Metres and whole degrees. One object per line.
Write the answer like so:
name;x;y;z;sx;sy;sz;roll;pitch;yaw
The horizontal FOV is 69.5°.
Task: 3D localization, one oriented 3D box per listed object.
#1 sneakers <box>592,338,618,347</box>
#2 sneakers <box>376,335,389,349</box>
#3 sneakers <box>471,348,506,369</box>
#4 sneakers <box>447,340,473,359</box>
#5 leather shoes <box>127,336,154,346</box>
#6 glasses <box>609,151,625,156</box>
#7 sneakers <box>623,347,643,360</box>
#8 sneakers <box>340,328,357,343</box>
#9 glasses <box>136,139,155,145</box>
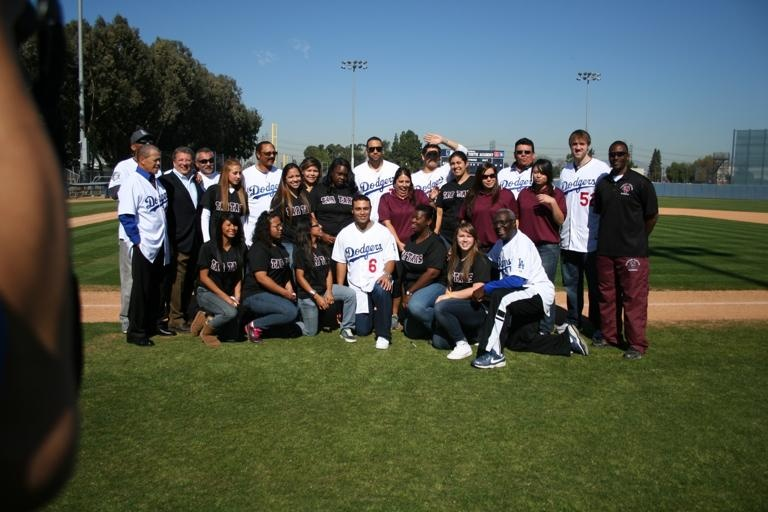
sneakers;2.630;1.036;6.564;0.266;0.113;0.124;-2;7;6
sneakers;-0.009;1.005;6.394;0.100;0.098;0.235;-2;-11;10
sneakers;1.072;1.068;5.754;0.408;0.196;0.150;0;16;-3
sneakers;0.826;1.036;6.077;0.221;0.163;0.299;7;10;35
leather shoes;-2.749;0.973;6.260;0.260;0.109;0.123;11;-11;9
glasses;2.660;-1.159;6.325;0.102;0.061;0.198;-4;10;-34
sneakers;2.722;1.067;6.021;0.184;0.083;0.099;8;1;-25
sneakers;-0.426;0.981;6.754;0.098;0.107;0.240;1;-4;-36
glasses;-3.118;-1.485;7.234;0.212;0.062;0.212;-2;4;5
